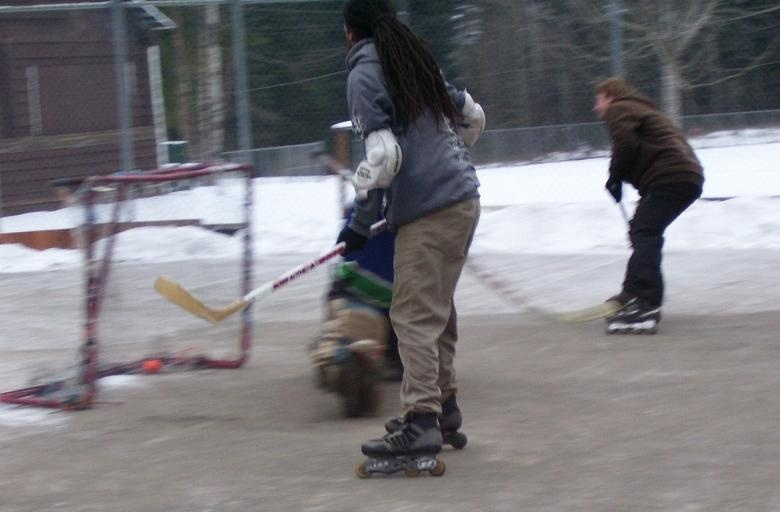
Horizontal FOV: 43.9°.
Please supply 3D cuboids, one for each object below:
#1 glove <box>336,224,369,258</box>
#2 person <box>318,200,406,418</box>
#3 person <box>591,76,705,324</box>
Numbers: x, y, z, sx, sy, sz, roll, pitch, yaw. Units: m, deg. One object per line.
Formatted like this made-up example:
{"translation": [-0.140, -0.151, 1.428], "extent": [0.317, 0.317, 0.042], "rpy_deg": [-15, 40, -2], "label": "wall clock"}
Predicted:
{"translation": [-0.259, -0.105, 6.914], "extent": [0.221, 0.129, 0.148], "rpy_deg": [-30, 24, 38], "label": "glove"}
{"translation": [-0.188, 0.345, 7.251], "extent": [0.475, 1.230, 0.493], "rpy_deg": [-10, 14, -27], "label": "person"}
{"translation": [2.200, -0.471, 8.397], "extent": [0.835, 2.176, 0.903], "rpy_deg": [2, 10, 29], "label": "person"}
